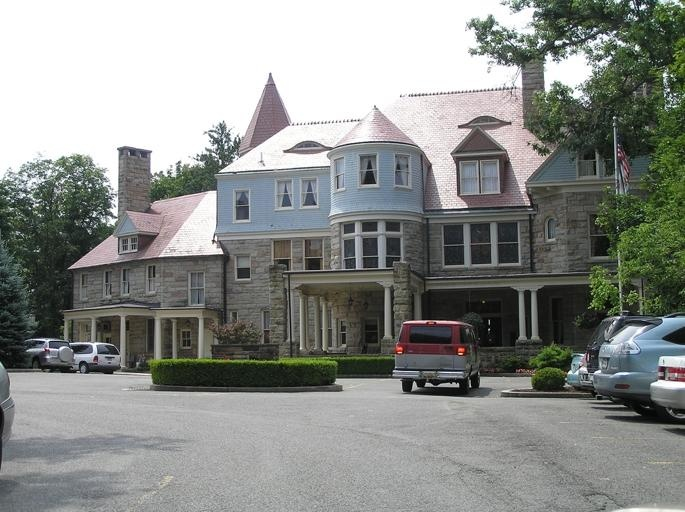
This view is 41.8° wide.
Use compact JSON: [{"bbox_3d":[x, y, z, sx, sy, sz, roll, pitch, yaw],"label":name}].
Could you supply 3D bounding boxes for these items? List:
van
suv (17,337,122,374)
[{"bbox_3d":[2.916,2.983,27.426,2.035,2.281,2.657,-3,-8,19],"label":"van"},{"bbox_3d":[-13.218,4.792,43.850,4.469,1.679,1.679,-2,-8,12],"label":"suv"}]
